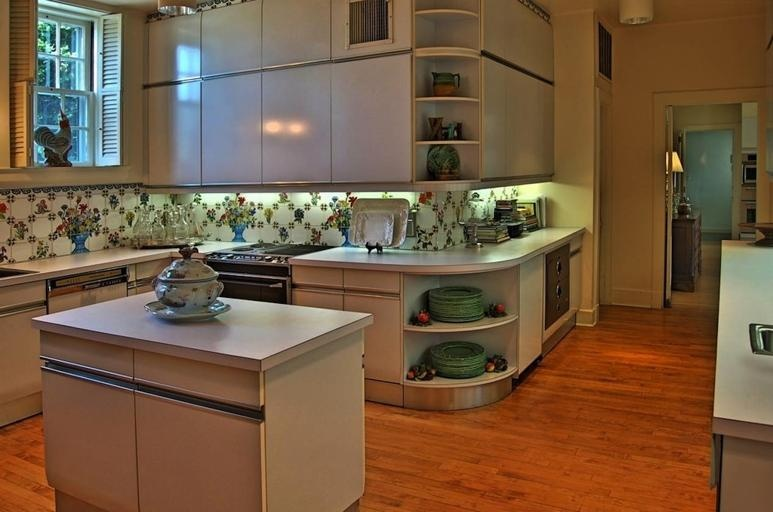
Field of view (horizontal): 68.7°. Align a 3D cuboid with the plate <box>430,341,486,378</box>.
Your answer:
[{"bbox_3d":[0.629,0.906,4.949,0.505,0.230,0.326,0,12,4],"label":"plate"}]

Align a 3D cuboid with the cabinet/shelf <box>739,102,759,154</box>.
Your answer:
[{"bbox_3d":[6.357,-2.182,9.835,0.116,1.001,0.424,-7,13,1],"label":"cabinet/shelf"}]

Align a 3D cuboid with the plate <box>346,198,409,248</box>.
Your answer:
[{"bbox_3d":[-0.067,-0.315,5.332,0.524,0.484,0.196,1,-7,25],"label":"plate"}]

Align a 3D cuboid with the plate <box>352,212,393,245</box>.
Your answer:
[{"bbox_3d":[-0.116,-0.248,5.335,0.412,0.312,0.152,3,1,23],"label":"plate"}]

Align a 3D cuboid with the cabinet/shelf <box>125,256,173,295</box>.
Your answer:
[{"bbox_3d":[-2.085,0.169,4.885,0.185,0.327,0.350,1,5,18],"label":"cabinet/shelf"}]

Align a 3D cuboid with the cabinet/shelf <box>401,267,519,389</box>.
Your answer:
[{"bbox_3d":[0.712,0.529,5.006,1.187,1.188,0.895,0,0,25],"label":"cabinet/shelf"}]

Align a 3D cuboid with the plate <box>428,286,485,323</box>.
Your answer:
[{"bbox_3d":[0.602,0.421,4.949,0.448,0.255,0.307,-5,13,-21],"label":"plate"}]

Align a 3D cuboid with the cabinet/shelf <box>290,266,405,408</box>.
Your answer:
[{"bbox_3d":[-0.536,0.697,4.946,0.656,1.221,1.283,-22,-23,35],"label":"cabinet/shelf"}]

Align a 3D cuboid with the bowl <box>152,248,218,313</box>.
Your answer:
[{"bbox_3d":[-1.204,0.142,3.433,0.436,0.374,0.340,1,9,-9],"label":"bowl"}]

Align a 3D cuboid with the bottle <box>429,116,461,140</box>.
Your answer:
[{"bbox_3d":[0.540,-1.152,5.193,0.270,0.198,0.217,-2,4,-11],"label":"bottle"}]

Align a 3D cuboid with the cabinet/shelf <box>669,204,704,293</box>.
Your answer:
[{"bbox_3d":[4.754,-0.037,9.062,0.467,1.070,1.223,3,-1,35],"label":"cabinet/shelf"}]

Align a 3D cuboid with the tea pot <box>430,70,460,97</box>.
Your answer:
[{"bbox_3d":[0.531,-1.568,5.190,0.279,0.211,0.204,-1,3,-12],"label":"tea pot"}]
